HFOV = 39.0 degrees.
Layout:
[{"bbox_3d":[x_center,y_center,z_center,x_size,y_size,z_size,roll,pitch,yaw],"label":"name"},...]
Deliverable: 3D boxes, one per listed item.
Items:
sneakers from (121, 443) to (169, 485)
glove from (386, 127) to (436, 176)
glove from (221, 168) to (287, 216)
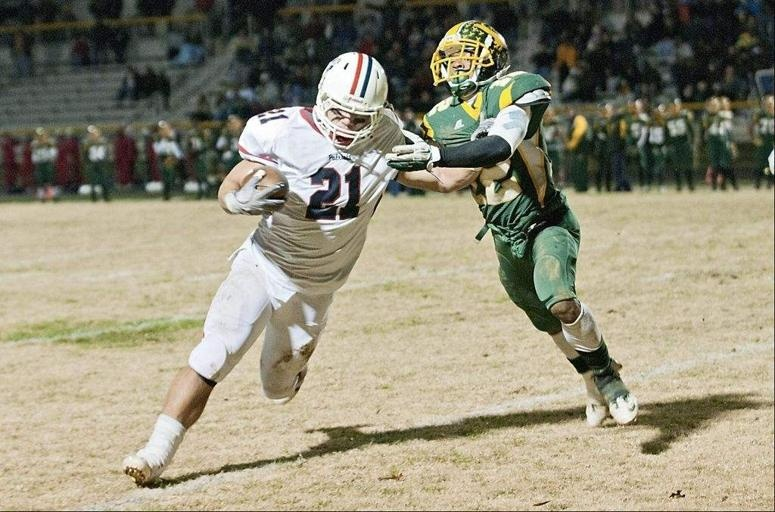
[{"bbox_3d":[-2.262,1.982,10.366,0.216,0.266,0.495,35,-20,-16],"label":"sneakers"},{"bbox_3d":[0.260,-1.015,10.633,0.499,0.434,0.432,-2,5,0],"label":"glove"},{"bbox_3d":[-1.227,-0.545,10.410,0.541,0.345,0.236,-44,-6,-22],"label":"glove"}]
